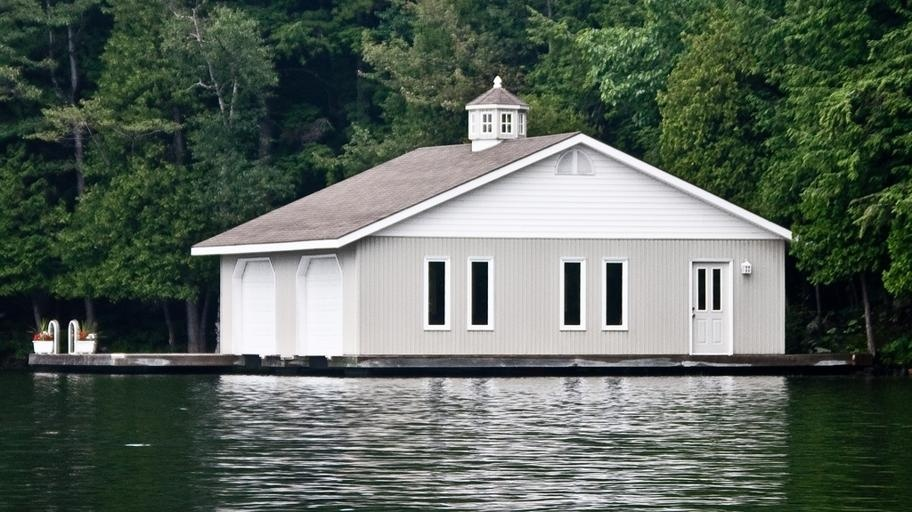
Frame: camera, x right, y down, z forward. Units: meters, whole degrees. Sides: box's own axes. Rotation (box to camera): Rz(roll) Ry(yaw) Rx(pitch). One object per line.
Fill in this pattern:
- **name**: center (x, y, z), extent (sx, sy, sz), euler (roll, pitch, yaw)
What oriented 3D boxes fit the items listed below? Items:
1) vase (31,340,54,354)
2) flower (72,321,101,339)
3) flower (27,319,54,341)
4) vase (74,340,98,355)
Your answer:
- **vase**: center (-18.772, 4.159, 96.265), extent (0.841, 0.372, 0.578), euler (1, -5, -1)
- **flower**: center (-17.666, 3.550, 100.994), extent (1.434, 0.904, 1.355), euler (0, -8, 4)
- **flower**: center (-20.226, 3.631, 103.071), extent (1.201, 1.637, 1.279), euler (2, -5, -10)
- **vase**: center (-16.624, 4.103, 94.957), extent (0.885, 0.411, 0.575), euler (2, -6, -8)
